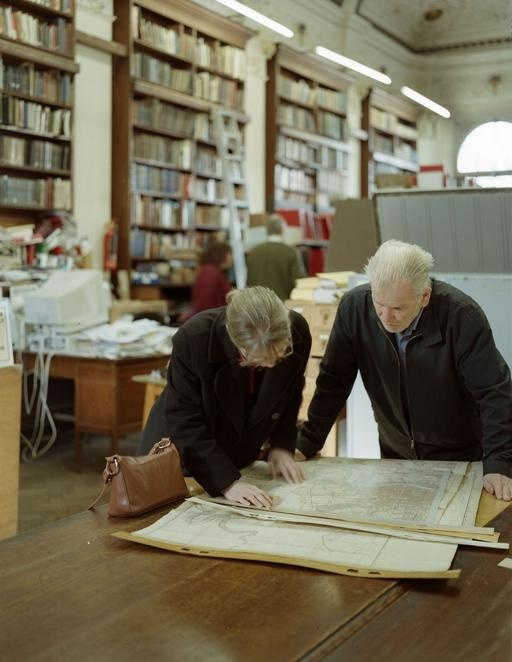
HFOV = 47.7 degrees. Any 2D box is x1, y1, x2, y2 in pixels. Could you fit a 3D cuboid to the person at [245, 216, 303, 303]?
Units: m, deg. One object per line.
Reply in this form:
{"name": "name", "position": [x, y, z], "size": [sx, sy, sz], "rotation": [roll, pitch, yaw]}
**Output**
{"name": "person", "position": [0.182, -0.479, 5.576], "size": [0.540, 1.230, 0.386], "rotation": [6, 32, 8]}

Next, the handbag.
{"name": "handbag", "position": [-0.242, 0.324, 1.288], "size": [0.080, 0.134, 0.213], "rotation": [-8, -5, 29]}

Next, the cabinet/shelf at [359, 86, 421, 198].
{"name": "cabinet/shelf", "position": [2.175, -2.984, 9.630], "size": [0.671, 1.579, 1.679], "rotation": [0, 2, 36]}

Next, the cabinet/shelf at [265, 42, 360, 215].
{"name": "cabinet/shelf", "position": [0.726, -2.682, 8.292], "size": [0.490, 2.138, 1.979], "rotation": [0, 2, 34]}

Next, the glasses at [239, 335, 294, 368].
{"name": "glasses", "position": [0.018, 0.063, 1.434], "size": [0.086, 0.049, 0.102], "rotation": [-14, 16, -16]}

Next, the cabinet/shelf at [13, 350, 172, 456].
{"name": "cabinet/shelf", "position": [-1.287, 0.521, 4.240], "size": [1.053, 0.703, 0.715], "rotation": [1, 1, 29]}
